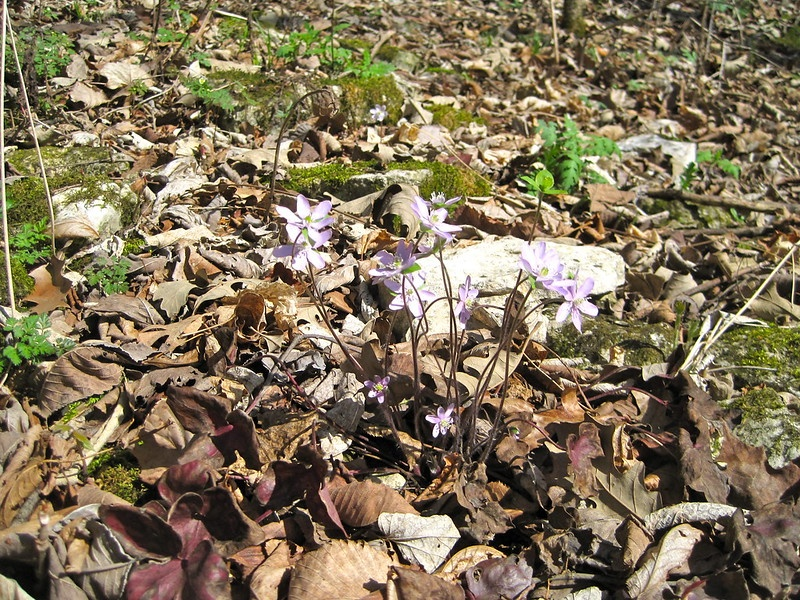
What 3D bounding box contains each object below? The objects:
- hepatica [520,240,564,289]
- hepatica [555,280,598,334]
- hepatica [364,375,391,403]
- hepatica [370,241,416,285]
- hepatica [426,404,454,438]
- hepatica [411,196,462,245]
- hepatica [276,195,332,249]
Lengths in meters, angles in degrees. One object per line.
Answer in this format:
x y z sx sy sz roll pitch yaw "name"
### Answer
0.617 -0.146 3.195 0.210 0.208 0.109 -6 -10 -24 "hepatica"
0.788 -0.002 3.214 0.172 0.183 0.051 -29 80 -13 "hepatica"
-0.102 0.444 3.465 0.038 0.141 0.144 21 37 -51 "hepatica"
-0.011 -0.148 3.226 0.209 0.203 0.089 5 -15 18 "hepatica"
0.195 0.599 3.464 0.160 0.153 0.045 -13 0 -22 "hepatica"
0.155 -0.390 3.204 0.220 0.101 0.222 25 56 -19 "hepatica"
-0.410 -0.354 3.112 0.227 0.107 0.223 -7 56 3 "hepatica"
